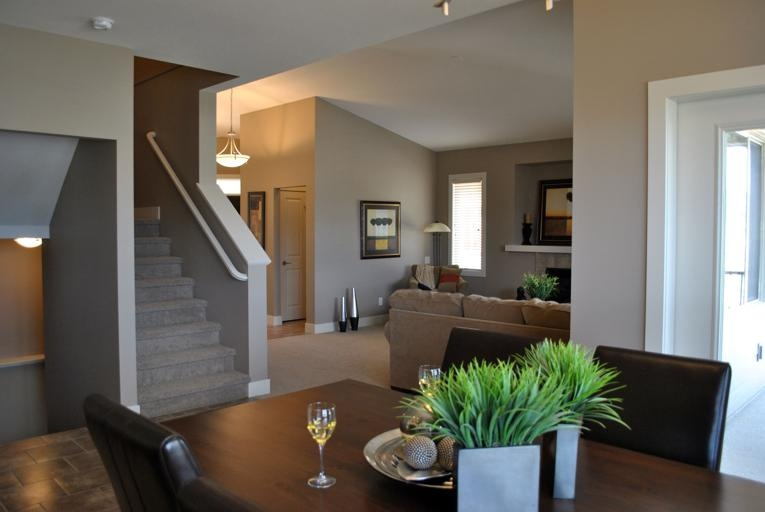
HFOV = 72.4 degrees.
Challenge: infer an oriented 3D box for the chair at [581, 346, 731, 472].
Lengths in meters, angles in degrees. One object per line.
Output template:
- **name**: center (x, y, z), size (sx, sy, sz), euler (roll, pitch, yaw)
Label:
- **chair**: center (1.329, 0.774, 2.572), size (0.536, 0.730, 0.524), euler (5, 10, 31)

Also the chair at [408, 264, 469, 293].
- **chair**: center (0.940, 0.367, 8.960), size (0.667, 0.653, 0.564), euler (0, -6, 9)

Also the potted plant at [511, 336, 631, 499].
- **potted plant**: center (0.690, 0.651, 1.970), size (0.328, 0.556, 0.525), euler (14, -12, -36)

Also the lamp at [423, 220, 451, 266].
- **lamp**: center (0.999, -0.234, 9.581), size (0.479, 0.830, 0.745), euler (2, 3, 5)

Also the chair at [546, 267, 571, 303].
- **chair**: center (2.696, 0.443, 8.006), size (0.303, 0.527, 0.556), euler (-2, 4, -39)

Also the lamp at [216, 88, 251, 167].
- **lamp**: center (-2.356, -1.917, 8.116), size (0.512, 1.156, 0.500), euler (-9, 30, -29)

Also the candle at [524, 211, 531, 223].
- **candle**: center (2.428, -0.658, 8.853), size (0.155, 0.167, 0.152), euler (2, -3, -35)

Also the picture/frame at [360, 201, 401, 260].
- **picture/frame**: center (-0.082, -0.449, 8.860), size (1.025, 1.089, 0.076), euler (-1, 0, -44)

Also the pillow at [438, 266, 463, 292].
- **pillow**: center (1.144, 0.375, 8.980), size (0.415, 0.386, 0.687), euler (1, 3, 5)
